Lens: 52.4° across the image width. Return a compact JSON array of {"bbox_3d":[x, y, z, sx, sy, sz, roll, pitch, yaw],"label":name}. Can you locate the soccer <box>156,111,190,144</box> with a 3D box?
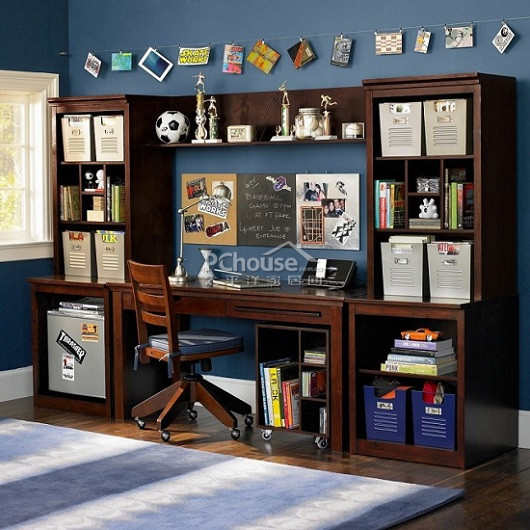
[{"bbox_3d":[-0.606,-0.897,3.585,0.212,0.213,0.212,6,-4,-25],"label":"soccer"}]

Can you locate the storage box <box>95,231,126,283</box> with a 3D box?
[{"bbox_3d":[-1.043,-0.073,3.587,0.190,0.315,0.292,-2,3,-18],"label":"storage box"}]

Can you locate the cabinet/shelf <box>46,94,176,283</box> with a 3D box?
[{"bbox_3d":[-1.066,-0.479,3.582,0.832,1.243,0.312,6,11,12],"label":"cabinet/shelf"}]

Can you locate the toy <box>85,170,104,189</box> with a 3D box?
[{"bbox_3d":[-1.192,-0.605,3.743,0.139,0.128,0.078,5,10,25],"label":"toy"}]

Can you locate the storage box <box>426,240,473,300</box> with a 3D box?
[{"bbox_3d":[0.865,0.020,2.523,0.199,0.261,0.067,0,3,21],"label":"storage box"}]

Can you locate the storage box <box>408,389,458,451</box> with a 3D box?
[{"bbox_3d":[0.770,0.709,2.449,0.181,0.258,0.123,4,6,30],"label":"storage box"}]

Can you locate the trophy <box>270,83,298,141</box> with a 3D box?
[{"bbox_3d":[0.109,-0.883,3.197,0.160,0.355,0.088,5,10,35],"label":"trophy"}]

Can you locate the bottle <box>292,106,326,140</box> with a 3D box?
[{"bbox_3d":[0.253,-0.801,3.056,0.165,0.160,0.166,-1,3,2],"label":"bottle"}]

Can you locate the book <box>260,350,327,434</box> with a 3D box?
[{"bbox_3d":[0.166,0.607,2.813,0.198,0.428,0.336,-4,8,-37],"label":"book"}]

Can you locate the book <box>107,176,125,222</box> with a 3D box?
[{"bbox_3d":[-1.021,-0.444,3.608,0.145,0.304,0.058,0,3,25],"label":"book"}]

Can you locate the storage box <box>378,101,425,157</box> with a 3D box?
[{"bbox_3d":[0.676,-0.669,2.628,0.242,0.311,0.172,6,14,34],"label":"storage box"}]

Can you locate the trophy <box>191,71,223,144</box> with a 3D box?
[{"bbox_3d":[-0.387,-1.019,3.468,0.188,0.521,0.389,-1,3,-5],"label":"trophy"}]

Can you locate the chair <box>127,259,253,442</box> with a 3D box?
[{"bbox_3d":[-0.485,0.499,2.977,0.589,1.015,0.658,-6,10,-41],"label":"chair"}]
